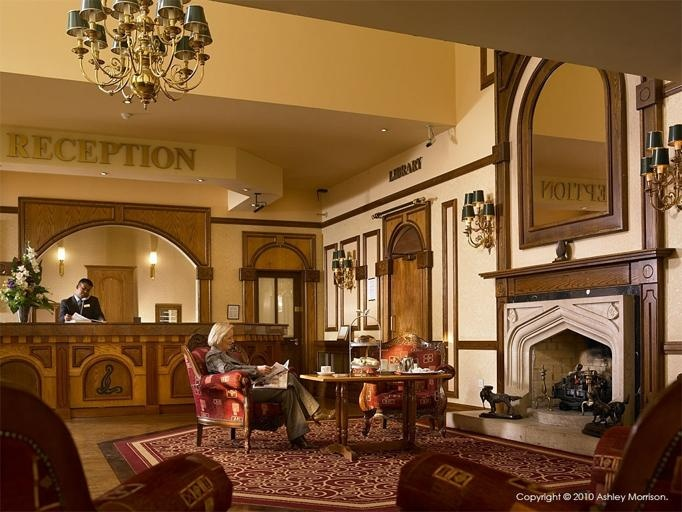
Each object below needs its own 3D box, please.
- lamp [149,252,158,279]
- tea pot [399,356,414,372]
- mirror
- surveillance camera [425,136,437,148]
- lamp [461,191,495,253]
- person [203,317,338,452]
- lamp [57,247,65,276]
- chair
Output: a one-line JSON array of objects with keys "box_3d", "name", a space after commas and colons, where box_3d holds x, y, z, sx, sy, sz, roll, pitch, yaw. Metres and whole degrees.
[{"box_3d": [-4.454, 0.189, 13.234, 0.162, 0.656, 0.131, 0, -6, -8], "name": "lamp"}, {"box_3d": [0.721, 1.209, 6.223, 0.153, 0.154, 0.259, -1, -7, 4], "name": "tea pot"}, {"box_3d": [2.734, -1.397, 6.775, 0.193, 2.437, 1.692, 2, -7, -21], "name": "mirror"}, {"box_3d": [1.460, -1.907, 9.298, 0.139, 0.148, 0.099, 2, 0, 24], "name": "surveillance camera"}, {"box_3d": [1.924, -0.469, 7.910, 0.440, 0.866, 0.702, -1, 1, -21], "name": "lamp"}, {"box_3d": [-0.909, 1.439, 6.370, 1.212, 1.467, 0.978, -20, -9, 17], "name": "person"}, {"box_3d": [-6.364, 0.113, 12.651, 0.175, 0.651, 0.273, 2, -7, -23], "name": "lamp"}, {"box_3d": [0.806, 1.606, 6.925, 1.283, 1.241, 1.013, -6, -13, 29], "name": "chair"}]
